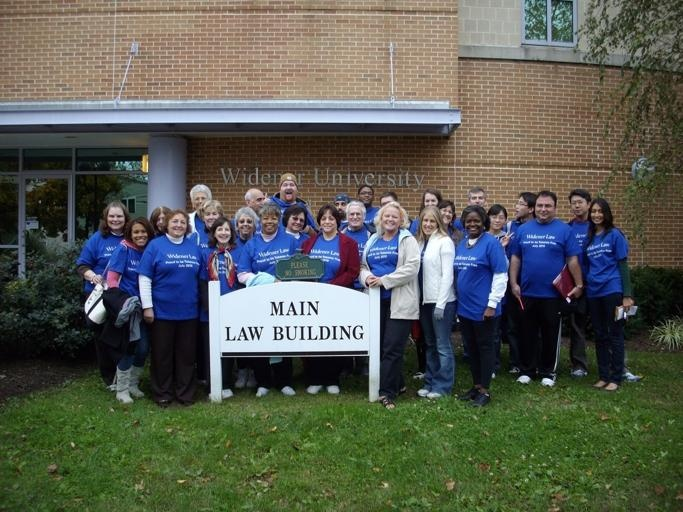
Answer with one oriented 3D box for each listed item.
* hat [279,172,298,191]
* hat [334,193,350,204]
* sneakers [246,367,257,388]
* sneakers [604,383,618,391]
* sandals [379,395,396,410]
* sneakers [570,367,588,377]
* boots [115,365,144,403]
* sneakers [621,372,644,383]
[{"bbox_3d":[-0.874,-1.248,10.860,0.268,0.328,0.389,0,-8,-5],"label":"hat"},{"bbox_3d":[0.006,-1.007,10.716,0.211,0.268,0.320,1,-8,8],"label":"hat"},{"bbox_3d":[-1.339,1.787,9.747,0.133,0.256,0.075,3,-23,-14],"label":"sneakers"},{"bbox_3d":[3.868,1.877,9.471,0.076,0.086,0.201,-4,-13,44],"label":"sneakers"},{"bbox_3d":[0.613,1.949,8.854,0.216,0.114,0.235,-1,3,4],"label":"sandals"},{"bbox_3d":[3.675,1.808,10.220,0.265,0.134,0.108,20,-22,-26],"label":"sneakers"},{"bbox_3d":[-2.951,1.762,9.171,0.367,0.480,0.407,-2,2,-20],"label":"boots"},{"bbox_3d":[4.380,1.839,9.996,0.145,0.097,0.223,-1,5,-9],"label":"sneakers"}]
